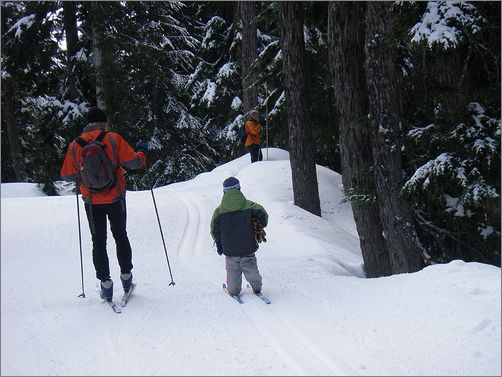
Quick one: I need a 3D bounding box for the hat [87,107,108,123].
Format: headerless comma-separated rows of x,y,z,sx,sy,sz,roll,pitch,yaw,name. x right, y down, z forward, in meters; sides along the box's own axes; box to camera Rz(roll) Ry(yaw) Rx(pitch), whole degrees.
-2.415,-1.150,7.650,0.227,0.243,0.237,6,18,31,hat

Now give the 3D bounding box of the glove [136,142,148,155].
-1.734,-0.649,7.752,0.178,0.215,0.140,-6,-11,3,glove

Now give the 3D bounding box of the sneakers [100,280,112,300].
-2.284,1.600,7.712,0.126,0.323,0.418,-1,11,-19,sneakers

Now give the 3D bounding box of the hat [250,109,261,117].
0.120,-2.312,15.042,0.262,0.242,0.520,-2,12,-3,hat

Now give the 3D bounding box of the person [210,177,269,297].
-0.167,0.801,7.933,0.778,2.124,0.607,-4,14,-4,person

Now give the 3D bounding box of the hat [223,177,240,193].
-0.310,-0.064,7.881,0.229,0.249,0.189,-9,7,-13,hat

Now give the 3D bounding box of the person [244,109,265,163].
0.115,-1.714,15.539,0.492,1.755,0.655,-10,51,-4,person
